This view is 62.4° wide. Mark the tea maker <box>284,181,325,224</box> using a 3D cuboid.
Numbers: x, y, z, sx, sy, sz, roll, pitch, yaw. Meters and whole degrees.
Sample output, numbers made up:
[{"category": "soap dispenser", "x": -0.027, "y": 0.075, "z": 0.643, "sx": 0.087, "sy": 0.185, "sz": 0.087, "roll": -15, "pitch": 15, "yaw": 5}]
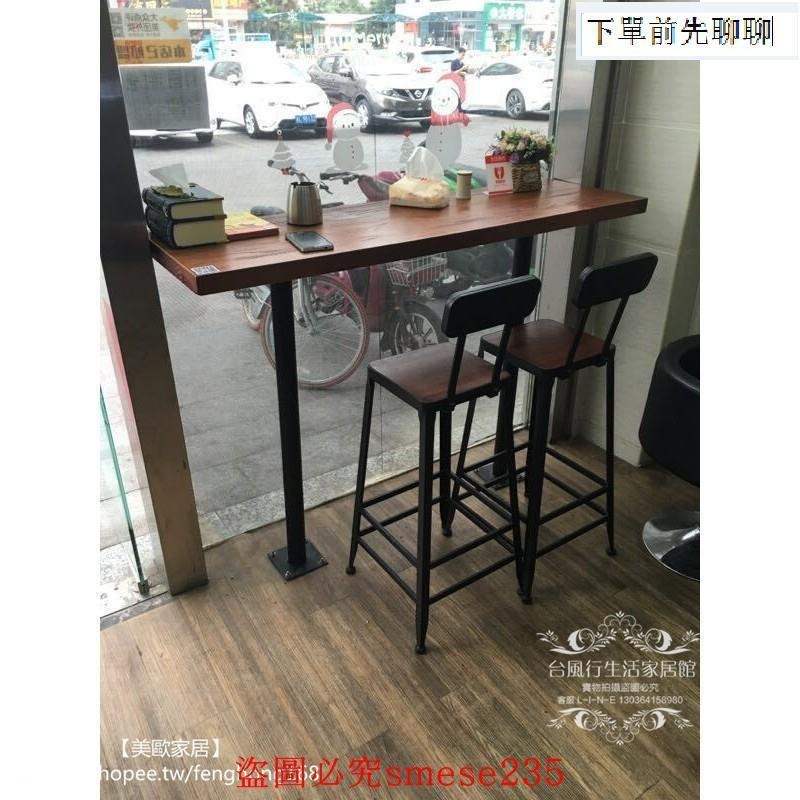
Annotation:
[{"category": "tea maker", "x": -0.326, "y": -0.663, "z": 2.243, "sx": 0.119, "sy": 0.145, "sz": 0.071, "roll": -6, "pitch": 25, "yaw": -9}]

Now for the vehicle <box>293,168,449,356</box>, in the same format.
[{"category": "vehicle", "x": -0.171, "y": -0.631, "z": 3.092, "sx": 0.464, "sy": 0.491, "sz": 0.777, "roll": -28, "pitch": 48, "yaw": -35}]

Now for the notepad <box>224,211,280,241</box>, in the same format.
[{"category": "notepad", "x": -0.490, "y": -0.560, "z": 2.154, "sx": 0.145, "sy": 0.029, "sz": 0.144, "roll": -18, "pitch": 37, "yaw": -35}]

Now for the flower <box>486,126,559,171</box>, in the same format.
[{"category": "flower", "x": 0.506, "y": -1.048, "z": 2.710, "sx": 0.189, "sy": 0.121, "sz": 0.221, "roll": 2, "pitch": 28, "yaw": -1}]

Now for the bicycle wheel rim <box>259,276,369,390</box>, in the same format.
[{"category": "bicycle wheel rim", "x": -0.314, "y": -0.287, "z": 2.798, "sx": 0.502, "sy": 0.436, "sz": 0.114, "roll": -13, "pitch": 19, "yaw": -22}]

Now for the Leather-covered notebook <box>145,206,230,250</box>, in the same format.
[{"category": "Leather-covered notebook", "x": -0.678, "y": -0.535, "z": 2.043, "sx": 0.152, "sy": 0.062, "sz": 0.182, "roll": -21, "pitch": 36, "yaw": -30}]

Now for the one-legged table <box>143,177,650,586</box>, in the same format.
[{"category": "one-legged table", "x": -0.055, "y": -0.066, "z": 2.566, "sx": 1.644, "sy": 0.985, "sz": 0.531, "roll": -19, "pitch": 44, "yaw": -28}]
